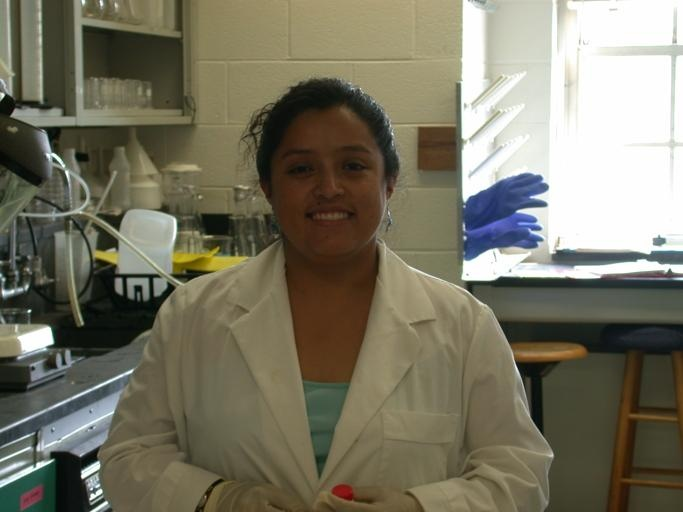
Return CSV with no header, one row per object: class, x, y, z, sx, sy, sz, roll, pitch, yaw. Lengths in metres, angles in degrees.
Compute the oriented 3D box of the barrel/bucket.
barrel/bucket,-0.782,-0.013,2.764,0.200,0.416,0.089,2,-18,-1
